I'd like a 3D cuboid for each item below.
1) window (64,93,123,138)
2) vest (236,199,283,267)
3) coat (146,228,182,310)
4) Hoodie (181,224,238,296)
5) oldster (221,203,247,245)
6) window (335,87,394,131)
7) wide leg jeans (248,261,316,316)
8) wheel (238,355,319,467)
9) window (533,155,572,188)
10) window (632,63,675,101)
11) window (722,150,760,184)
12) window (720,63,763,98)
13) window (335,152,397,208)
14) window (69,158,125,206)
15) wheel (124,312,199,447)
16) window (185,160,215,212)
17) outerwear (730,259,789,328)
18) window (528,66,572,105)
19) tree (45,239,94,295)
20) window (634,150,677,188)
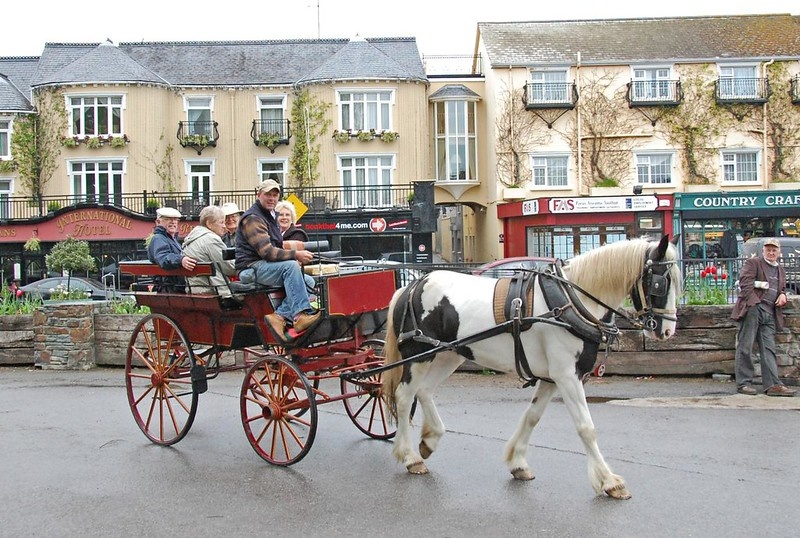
[{"bbox_3d":[-15.071,-7.479,50.533,2.018,1.788,0.220,0,1,-6],"label":"window"},{"bbox_3d":[-3.146,-0.837,22.358,0.717,1.345,0.905,-2,-11,37],"label":"vest"},{"bbox_3d":[-5.155,-0.245,23.163,0.846,1.595,1.171,-4,2,0],"label":"coat"},{"bbox_3d":[-4.224,-0.144,22.935,1.197,1.610,1.218,0,-5,-41],"label":"Hoodie"},{"bbox_3d":[-3.928,-1.023,24.130,0.609,1.009,0.733,-4,-8,-10],"label":"oldster"},{"bbox_3d":[-1.755,-7.830,50.876,2.000,1.590,0.245,0,4,4],"label":"window"},{"bbox_3d":[-2.502,0.443,22.348,1.266,1.326,0.961,-12,-6,-4],"label":"wide leg jeans"},{"bbox_3d":[-2.611,2.958,21.788,2.176,2.333,0.560,6,5,40],"label":"wheel"},{"bbox_3d":[7.403,-4.716,49.568,1.411,1.321,0.208,-1,2,7],"label":"window"},{"bbox_3d":[12.118,-8.808,49.210,1.677,1.573,0.148,0,1,3],"label":"window"},{"bbox_3d":[16.203,-4.841,49.114,1.678,1.441,0.598,0,4,16],"label":"window"},{"bbox_3d":[16.249,-8.850,49.058,1.576,1.565,0.145,0,-6,0],"label":"window"},{"bbox_3d":[-1.684,-4.258,50.236,2.645,2.887,0.243,-1,-4,-3],"label":"window"},{"bbox_3d":[-14.795,-4.248,50.553,2.258,2.265,0.266,0,-2,1],"label":"window"},{"bbox_3d":[-5.338,2.462,22.909,2.715,2.895,0.388,-9,-4,44],"label":"wheel"},{"bbox_3d":[-9.858,-3.963,51.074,1.381,2.903,0.253,0,-35,-12],"label":"window"},{"bbox_3d":[8.800,0.500,25.052,1.137,1.537,0.994,8,5,-12],"label":"outerwear"},{"bbox_3d":[7.192,-8.647,49.289,1.706,1.587,0.215,0,2,1],"label":"window"},{"bbox_3d":[-13.930,-0.145,43.611,2.062,2.494,2.195,0,-7,-2],"label":"tree"},{"bbox_3d":[12.265,-4.791,49.412,1.821,1.758,0.266,0,2,6],"label":"window"}]
